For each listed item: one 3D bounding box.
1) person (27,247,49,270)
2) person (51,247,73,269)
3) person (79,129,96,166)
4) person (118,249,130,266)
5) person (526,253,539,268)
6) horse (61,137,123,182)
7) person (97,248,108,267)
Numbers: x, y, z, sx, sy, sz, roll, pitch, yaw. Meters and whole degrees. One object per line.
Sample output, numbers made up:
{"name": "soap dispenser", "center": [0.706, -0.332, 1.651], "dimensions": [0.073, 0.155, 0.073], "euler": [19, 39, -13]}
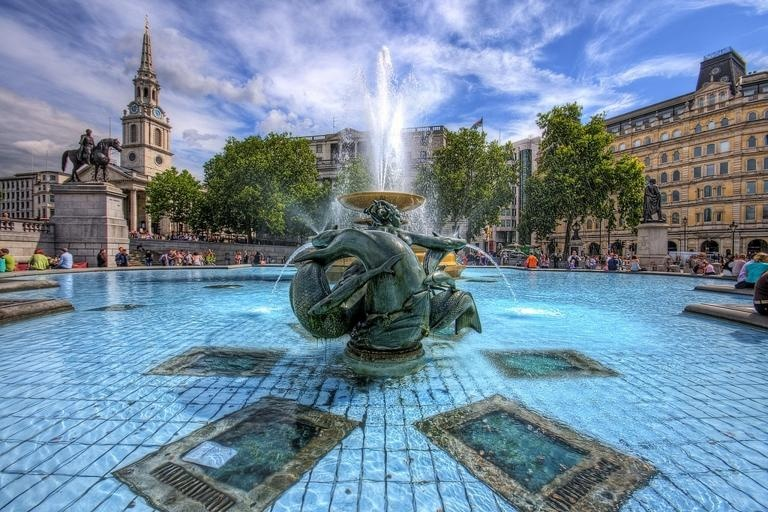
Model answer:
{"name": "person", "center": [-12.808, 0.092, 17.701], "dimensions": [0.724, 1.172, 0.464], "euler": [7, -36, -37]}
{"name": "person", "center": [-12.722, 0.077, 18.980], "dimensions": [0.735, 1.058, 1.108], "euler": [-2, 12, -39]}
{"name": "person", "center": [-13.184, -4.869, 21.298], "dimensions": [0.422, 1.442, 0.550], "euler": [8, 11, 43]}
{"name": "person", "center": [-11.530, 0.028, 21.250], "dimensions": [0.482, 0.738, 0.743], "euler": [-7, 11, -42]}
{"name": "person", "center": [8.312, 0.249, 26.691], "dimensions": [0.966, 0.934, 0.523], "euler": [0, -11, 13]}
{"name": "horse", "center": [-13.236, -4.340, 21.722], "dimensions": [3.025, 1.833, 0.848], "euler": [1, 2, 11]}
{"name": "person", "center": [-12.115, 0.069, 20.633], "dimensions": [0.378, 0.707, 1.244], "euler": [-4, 9, -30]}
